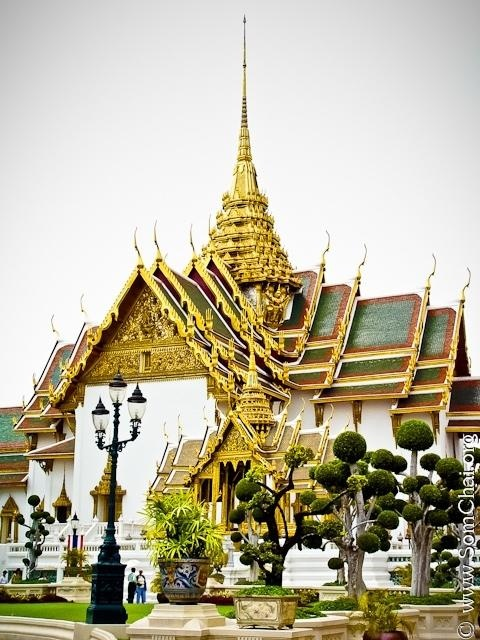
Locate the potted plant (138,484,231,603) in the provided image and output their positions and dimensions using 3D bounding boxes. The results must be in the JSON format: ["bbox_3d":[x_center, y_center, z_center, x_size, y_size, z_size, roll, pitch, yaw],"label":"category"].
[{"bbox_3d":[-0.568,2.492,13.005,0.775,1.044,0.880,-4,-14,14],"label":"potted plant"}]

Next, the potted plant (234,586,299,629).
[{"bbox_3d":[0.257,2.765,11.777,0.451,0.307,0.385,-6,-13,29],"label":"potted plant"}]
